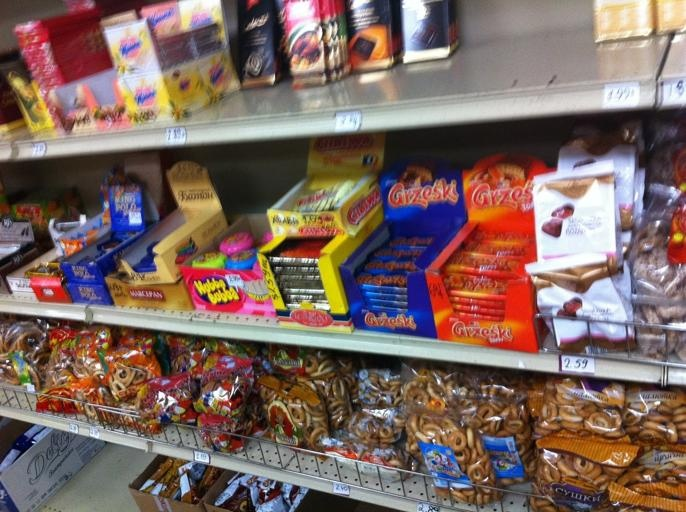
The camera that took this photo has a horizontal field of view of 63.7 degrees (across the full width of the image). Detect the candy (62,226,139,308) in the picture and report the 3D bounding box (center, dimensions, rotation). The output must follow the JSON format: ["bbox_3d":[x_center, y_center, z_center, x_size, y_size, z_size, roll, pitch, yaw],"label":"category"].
[{"bbox_3d":[-0.966,0.042,2.365,0.241,0.128,0.350,-5,35,31],"label":"candy"}]

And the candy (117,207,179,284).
[{"bbox_3d":[-0.753,-0.027,2.201,0.216,0.083,0.353,0,43,35],"label":"candy"}]

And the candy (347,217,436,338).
[{"bbox_3d":[0.170,0.056,1.814,0.232,0.181,0.345,-1,36,22],"label":"candy"}]

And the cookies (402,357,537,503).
[{"bbox_3d":[0.405,0.593,1.852,0.445,0.372,0.265,0,25,23],"label":"cookies"}]

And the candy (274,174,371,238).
[{"bbox_3d":[-0.057,-0.187,1.876,0.249,0.102,0.259,-2,34,32],"label":"candy"}]

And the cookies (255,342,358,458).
[{"bbox_3d":[-0.144,0.524,2.159,0.392,0.308,0.129,4,2,27],"label":"cookies"}]

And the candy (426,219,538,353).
[{"bbox_3d":[0.444,0.056,1.682,0.297,0.206,0.423,-1,40,31],"label":"candy"}]

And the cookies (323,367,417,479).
[{"bbox_3d":[0.083,0.573,1.896,0.304,0.371,0.110,6,-2,24],"label":"cookies"}]

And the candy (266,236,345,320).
[{"bbox_3d":[-0.116,0.071,1.792,0.210,0.297,0.155,3,39,33],"label":"candy"}]

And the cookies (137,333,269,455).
[{"bbox_3d":[-0.560,0.536,2.289,0.459,0.409,0.188,-1,-6,26],"label":"cookies"}]
